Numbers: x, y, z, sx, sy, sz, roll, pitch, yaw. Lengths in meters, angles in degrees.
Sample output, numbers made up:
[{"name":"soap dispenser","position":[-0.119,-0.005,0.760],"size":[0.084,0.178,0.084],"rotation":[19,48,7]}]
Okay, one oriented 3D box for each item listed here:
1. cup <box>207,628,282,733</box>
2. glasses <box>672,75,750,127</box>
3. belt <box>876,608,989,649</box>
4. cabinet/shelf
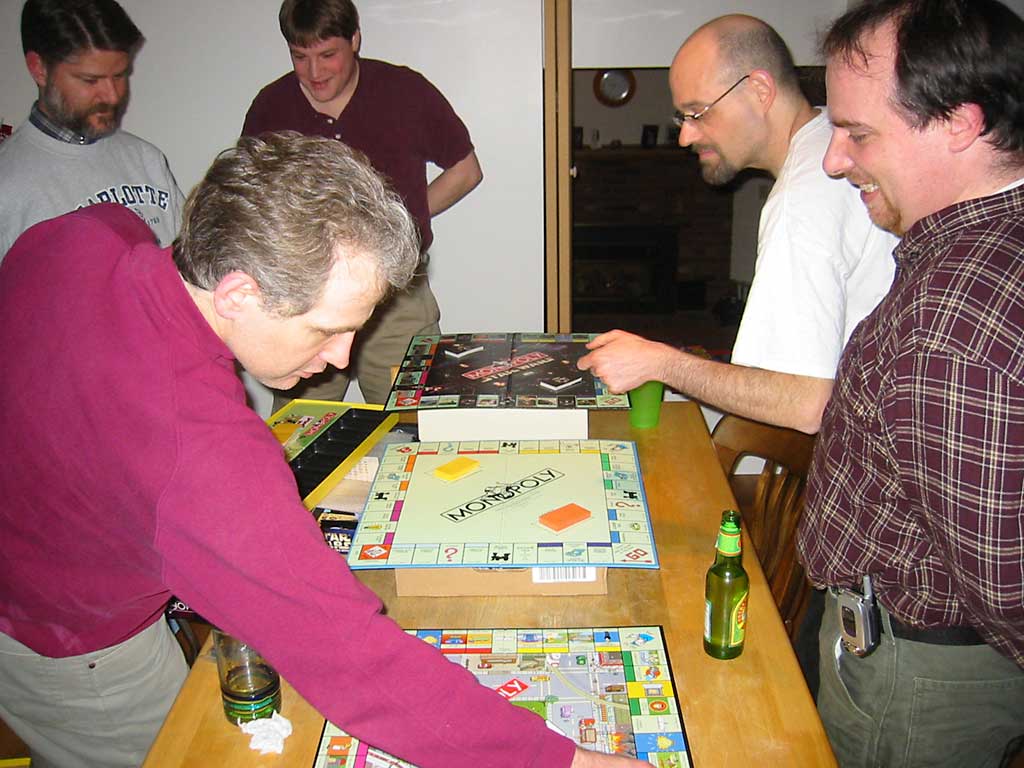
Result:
[{"name":"cup","position":[-0.493,0.534,1.446],"size":[0.113,0.177,0.186],"rotation":[-2,13,-10]},{"name":"glasses","position":[0.540,-0.779,2.066],"size":[0.110,0.031,0.106],"rotation":[-35,4,8]},{"name":"belt","position":[0.791,0.457,1.405],"size":[0.123,0.027,0.115],"rotation":[-1,14,7]},{"name":"cabinet/shelf","position":[1.091,-1.108,5.880],"size":[1.811,1.544,0.901],"rotation":[3,10,0]}]
